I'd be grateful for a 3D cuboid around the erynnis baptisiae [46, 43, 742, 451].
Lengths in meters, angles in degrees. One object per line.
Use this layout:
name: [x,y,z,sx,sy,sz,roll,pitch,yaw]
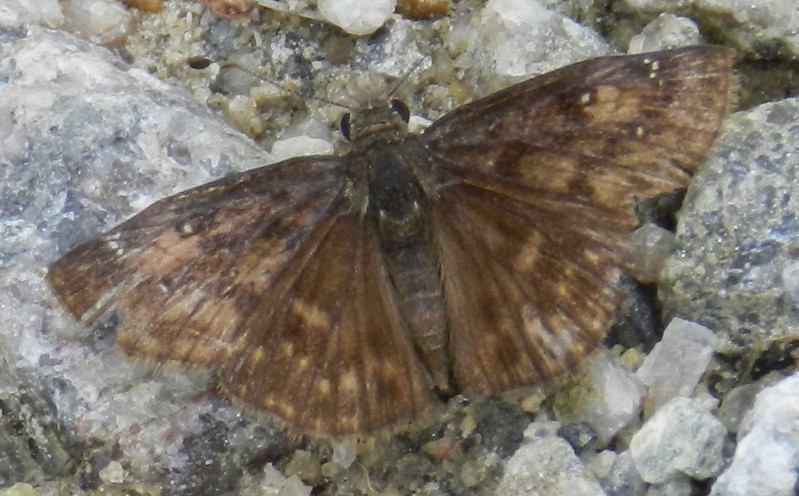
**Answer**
erynnis baptisiae: [0.119,0.067,6.536,4.715,0.550,2.337,-18,84,-6]
